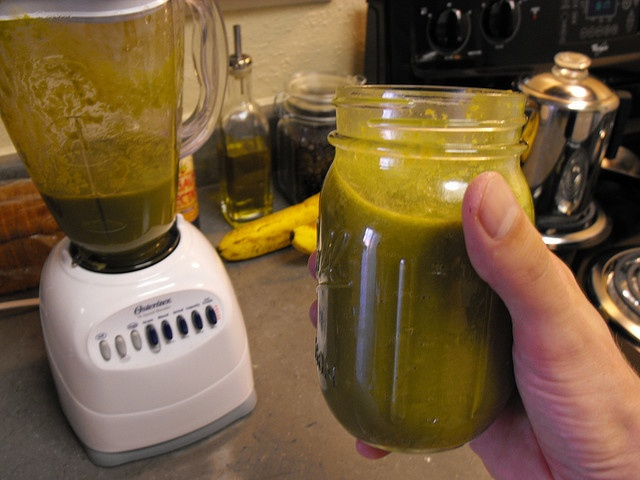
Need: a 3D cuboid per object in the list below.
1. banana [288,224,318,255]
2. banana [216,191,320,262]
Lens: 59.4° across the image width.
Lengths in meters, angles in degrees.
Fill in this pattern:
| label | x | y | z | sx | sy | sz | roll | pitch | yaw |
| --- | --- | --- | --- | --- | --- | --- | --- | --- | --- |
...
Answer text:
| label | x | y | z | sx | sy | sz | roll | pitch | yaw |
| --- | --- | --- | --- | --- | --- | --- | --- | --- | --- |
| banana | -0.025 | 0.000 | 0.929 | 0.047 | 0.041 | 0.029 | 7 | 12 | 6 |
| banana | -0.091 | -0.022 | 0.970 | 0.176 | 0.058 | 0.043 | -24 | 32 | -21 |
